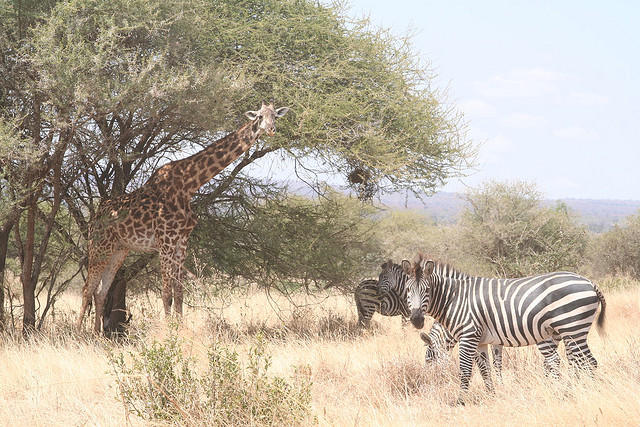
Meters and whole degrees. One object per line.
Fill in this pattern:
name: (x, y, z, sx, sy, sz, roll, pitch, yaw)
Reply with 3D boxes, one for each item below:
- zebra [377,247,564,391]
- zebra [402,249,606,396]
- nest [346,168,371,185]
zebra: (2.750, 1.998, 12.786, 4.450, 3.041, 1.243, 5, -14, 2)
zebra: (2.979, 1.906, 11.471, 3.306, 2.246, 0.963, -3, 0, 28)
nest: (0.865, -0.840, 16.261, 0.373, 0.295, 0.599, 10, -19, -42)
